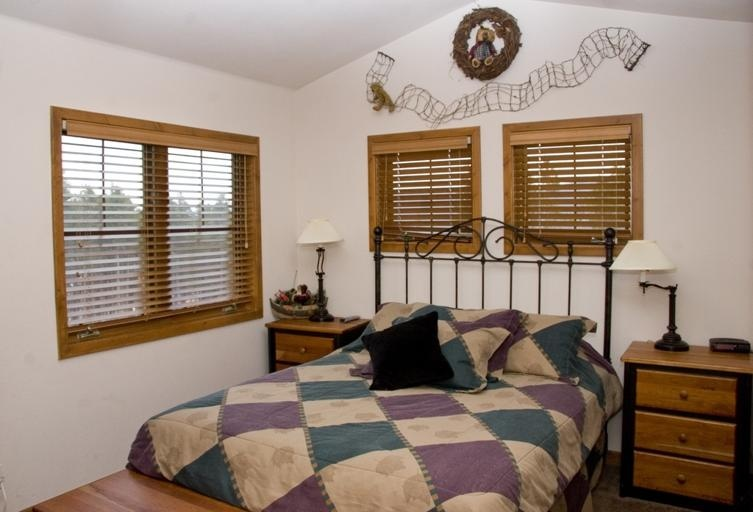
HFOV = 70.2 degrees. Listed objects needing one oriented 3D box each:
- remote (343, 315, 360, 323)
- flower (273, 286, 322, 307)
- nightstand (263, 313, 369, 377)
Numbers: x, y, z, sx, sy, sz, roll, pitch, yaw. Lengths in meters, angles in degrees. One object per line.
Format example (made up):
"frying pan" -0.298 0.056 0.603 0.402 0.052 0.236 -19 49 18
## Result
"remote" -0.221 0.537 4.609 0.045 0.033 0.192 25 14 25
"flower" -0.723 0.369 4.754 0.272 0.128 0.212 0 -3 -28
"nightstand" -0.536 0.618 4.567 0.666 0.641 0.496 0 -1 27
